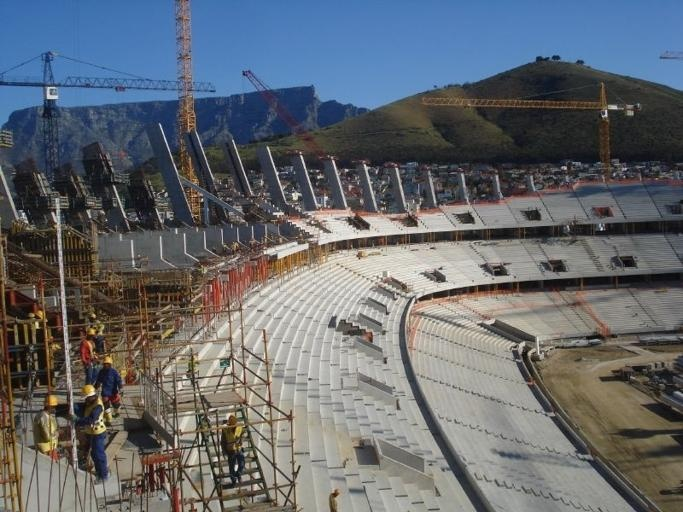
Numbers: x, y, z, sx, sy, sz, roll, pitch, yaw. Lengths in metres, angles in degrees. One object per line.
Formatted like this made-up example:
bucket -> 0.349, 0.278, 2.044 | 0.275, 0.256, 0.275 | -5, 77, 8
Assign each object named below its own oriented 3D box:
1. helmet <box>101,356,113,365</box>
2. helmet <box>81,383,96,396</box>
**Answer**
helmet -> -6.003, 2.698, 20.379 | 0.285, 0.146, 0.335 | 4, -8, -15
helmet -> -6.261, 3.293, 19.556 | 0.293, 0.344, 0.155 | 1, -72, -40
